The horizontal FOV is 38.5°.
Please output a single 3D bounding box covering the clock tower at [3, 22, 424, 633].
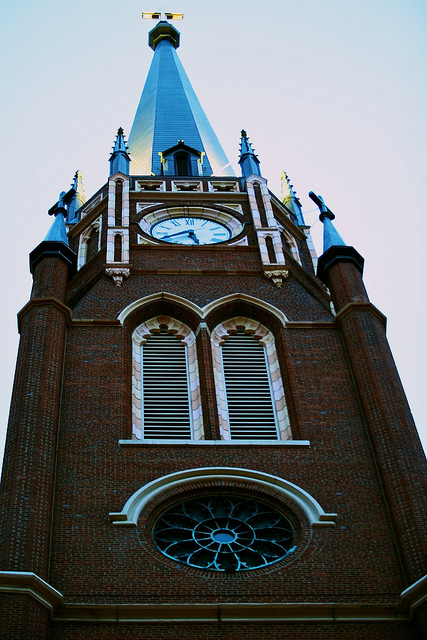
[{"bbox_3d":[-0.492,-1.221,18.044,9.109,21.024,5.147,4,-45,-11],"label":"clock tower"}]
